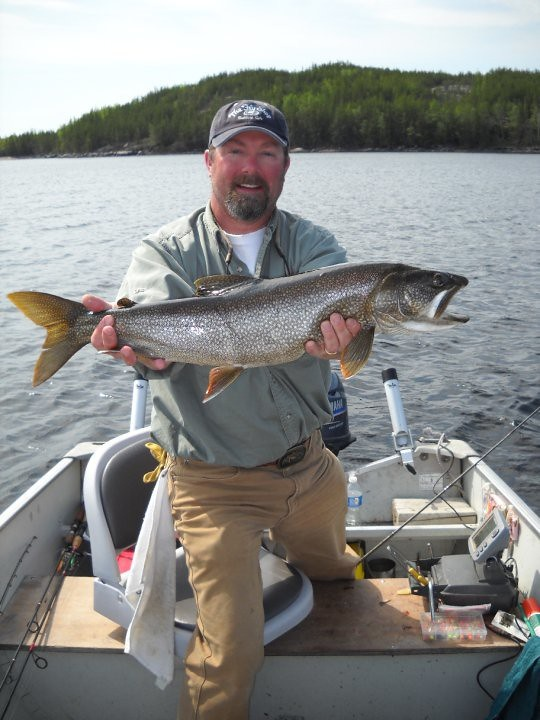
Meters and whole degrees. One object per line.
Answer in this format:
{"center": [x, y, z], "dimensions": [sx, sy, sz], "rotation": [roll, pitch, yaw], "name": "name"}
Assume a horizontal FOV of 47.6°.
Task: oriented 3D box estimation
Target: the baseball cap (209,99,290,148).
{"center": [-0.108, -1.304, 3.385], "dimensions": [0.448, 0.258, 0.522], "rotation": [-7, 16, -21], "name": "baseball cap"}

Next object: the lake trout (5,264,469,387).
{"center": [-0.110, -0.129, 2.725], "dimensions": [1.915, 0.545, 0.316], "rotation": [-2, 20, 5], "name": "lake trout"}

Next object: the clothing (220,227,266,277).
{"center": [-0.113, -0.595, 3.440], "dimensions": [0.223, 0.276, 0.110], "rotation": [-4, 7, 3], "name": "clothing"}

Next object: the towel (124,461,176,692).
{"center": [-0.577, 1.070, 3.011], "dimensions": [0.259, 0.650, 0.784], "rotation": [-8, 19, -9], "name": "towel"}

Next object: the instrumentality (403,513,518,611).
{"center": [1.078, 1.135, 3.452], "dimensions": [0.572, 0.459, 0.395], "rotation": [-3, 5, 12], "name": "instrumentality"}
